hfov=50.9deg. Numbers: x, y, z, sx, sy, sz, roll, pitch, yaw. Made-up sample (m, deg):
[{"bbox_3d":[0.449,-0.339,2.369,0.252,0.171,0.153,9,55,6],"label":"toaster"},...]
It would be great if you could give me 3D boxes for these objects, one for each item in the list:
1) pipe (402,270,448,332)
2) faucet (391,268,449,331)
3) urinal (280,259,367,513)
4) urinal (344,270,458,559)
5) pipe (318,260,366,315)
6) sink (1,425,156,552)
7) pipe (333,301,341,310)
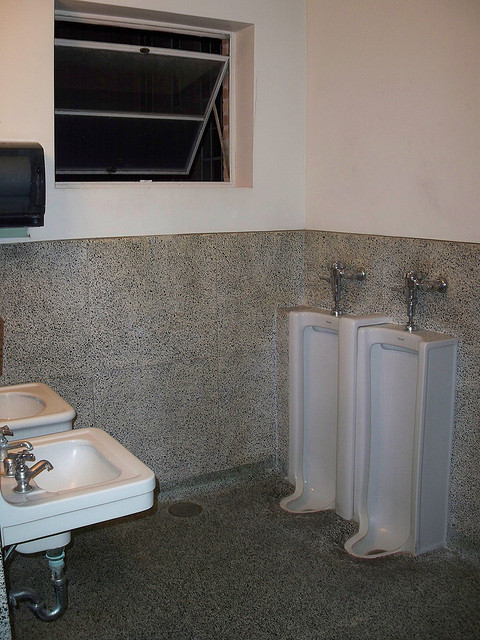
[{"bbox_3d":[0.631,-0.062,1.768,0.110,0.227,0.155,2,10,-13],"label":"pipe"},{"bbox_3d":[0.631,-0.099,1.809,0.173,0.306,0.155,1,0,10],"label":"faucet"},{"bbox_3d":[0.381,0.358,2.301,0.191,1.243,0.314,-5,12,-30],"label":"urinal"},{"bbox_3d":[0.587,0.316,1.912,0.395,1.032,0.432,-5,9,-37],"label":"urinal"},{"bbox_3d":[0.418,-0.129,2.106,0.145,0.342,0.169,-1,0,-38],"label":"pipe"},{"bbox_3d":[-0.377,0.332,1.153,0.292,0.174,0.428,-4,5,-27],"label":"sink"},{"bbox_3d":[0.403,-0.056,2.103,0.018,0.063,0.023,-6,10,-44],"label":"pipe"}]
